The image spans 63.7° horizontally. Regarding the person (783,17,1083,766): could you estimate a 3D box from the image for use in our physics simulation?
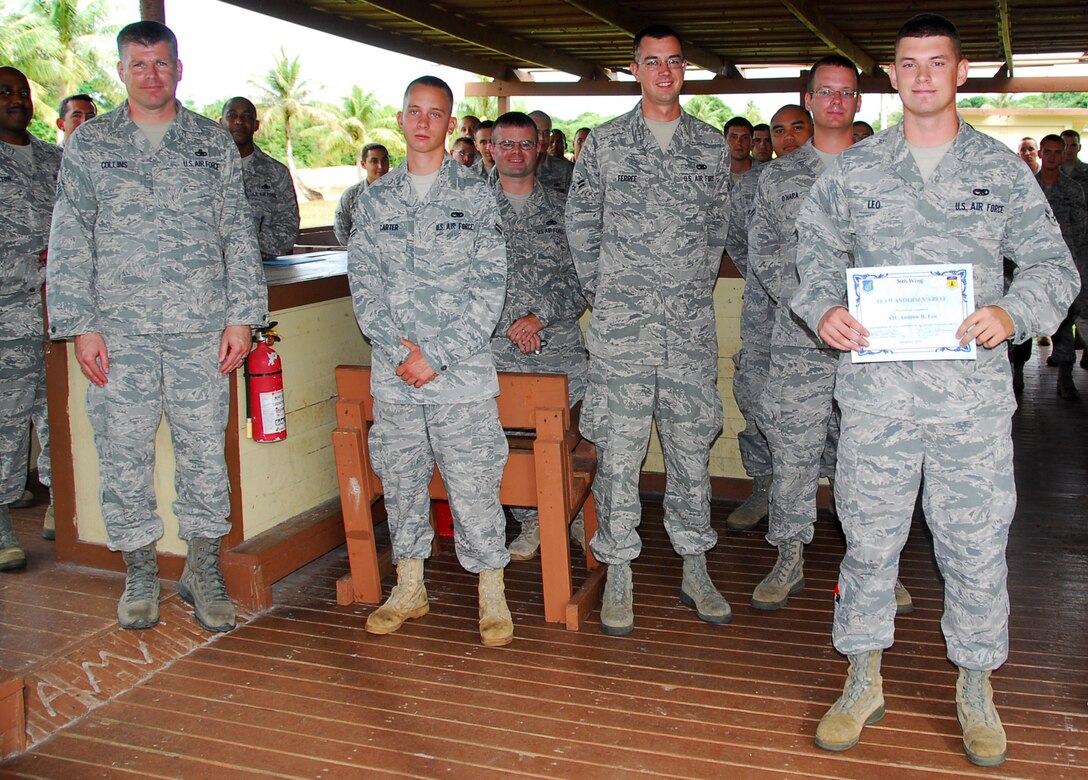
[{"bbox_3d":[1.344,0.012,3.079,0.940,2.545,0.829,1,18,12],"label":"person"}]
